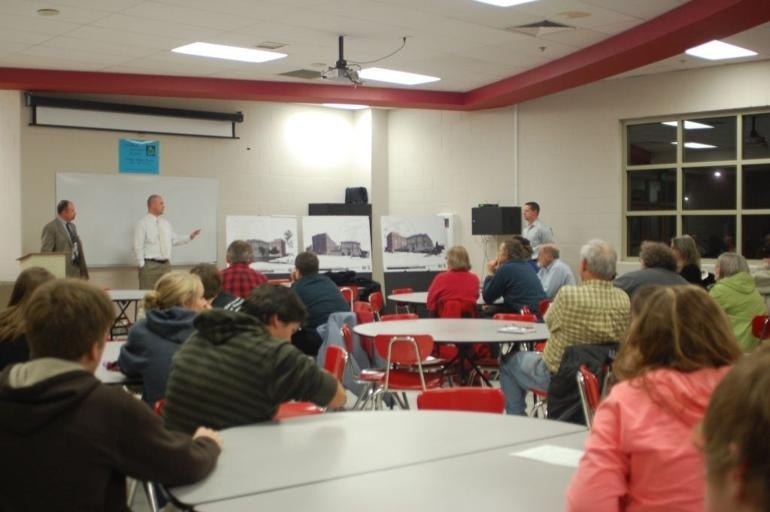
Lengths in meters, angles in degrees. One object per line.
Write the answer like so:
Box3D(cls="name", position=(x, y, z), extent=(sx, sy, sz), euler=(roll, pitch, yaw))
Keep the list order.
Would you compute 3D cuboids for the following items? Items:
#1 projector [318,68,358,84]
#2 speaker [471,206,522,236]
Box3D(cls="projector", position=(-0.510, -2.165, 7.290), extent=(0.299, 0.181, 0.412), euler=(6, 8, 35))
Box3D(cls="speaker", position=(1.765, -0.588, 9.754), extent=(0.795, 0.511, 0.455), euler=(2, 4, 41))
